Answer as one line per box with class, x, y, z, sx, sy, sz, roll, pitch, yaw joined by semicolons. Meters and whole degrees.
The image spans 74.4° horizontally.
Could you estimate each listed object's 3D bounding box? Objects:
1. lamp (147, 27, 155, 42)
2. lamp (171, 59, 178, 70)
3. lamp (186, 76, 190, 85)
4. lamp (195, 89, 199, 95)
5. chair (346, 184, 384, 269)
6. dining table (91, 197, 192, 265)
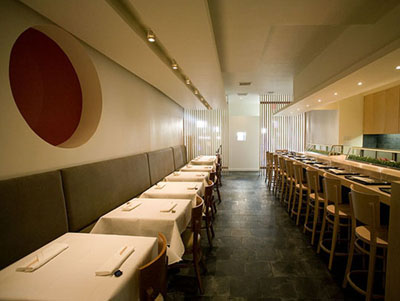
lamp;-0.704;-1.663;3.786;0.121;0.231;0.081;-23;-25;26
lamp;-0.469;-1.588;4.874;0.128;0.148;0.134;-2;0;-13
lamp;-0.273;-1.576;5.990;0.069;0.151;0.087;-5;27;4
lamp;-0.083;-1.575;7.095;0.077;0.096;0.083;-2;-5;5
chair;2.285;1.102;3.591;0.440;1.274;1.016;3;6;36
dining table;-0.720;1.015;3.291;0.822;0.249;0.753;2;6;15
